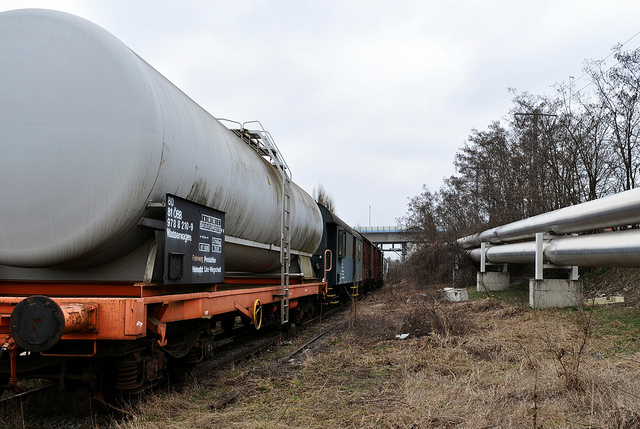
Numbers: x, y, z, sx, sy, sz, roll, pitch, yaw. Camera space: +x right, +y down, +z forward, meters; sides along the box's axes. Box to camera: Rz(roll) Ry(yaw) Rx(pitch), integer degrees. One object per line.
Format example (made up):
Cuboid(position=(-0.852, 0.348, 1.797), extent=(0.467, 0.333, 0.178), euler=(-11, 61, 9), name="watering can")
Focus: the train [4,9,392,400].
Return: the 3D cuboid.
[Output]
Cuboid(position=(-2.257, 0.124, 12.202), extent=(3.045, 4.382, 11.402), euler=(0, -3, 24), name="train")
